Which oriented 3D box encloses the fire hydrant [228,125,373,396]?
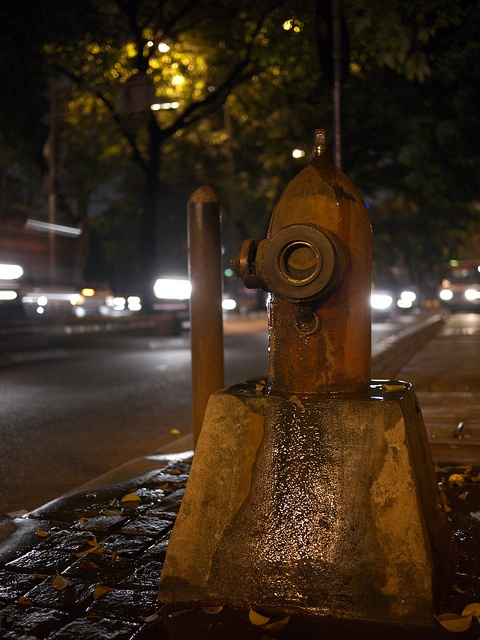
[{"bbox_3d":[0.352,-0.294,3.419,0.502,1.276,0.503,1,-2,9],"label":"fire hydrant"}]
